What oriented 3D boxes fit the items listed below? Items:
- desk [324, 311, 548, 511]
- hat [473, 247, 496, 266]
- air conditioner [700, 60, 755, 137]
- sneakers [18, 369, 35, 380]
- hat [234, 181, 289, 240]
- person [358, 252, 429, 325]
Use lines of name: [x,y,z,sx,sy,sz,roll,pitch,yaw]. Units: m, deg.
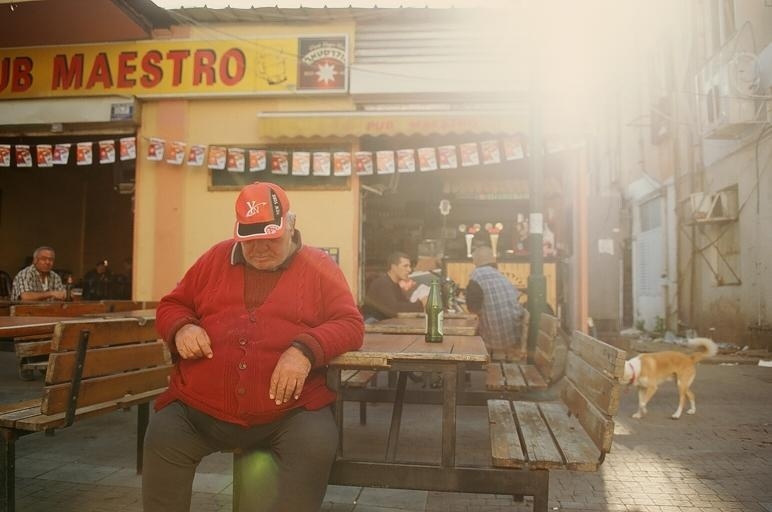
desk: [0.600,1.857,7.923,2.051,1.118,2.235,0,-2,6]
hat: [1.688,0.019,11.112,0.332,0.521,0.343,-1,0,11]
air conditioner: [8.285,-3.835,15.582,0.809,2.015,2.181,0,2,10]
sneakers: [-6.455,2.108,11.698,0.225,0.231,0.175,0,-3,18]
hat: [-1.455,-0.551,7.467,0.596,0.470,0.907,-5,29,-5]
person: [0.057,0.396,11.974,1.258,2.233,0.937,1,13,-5]
